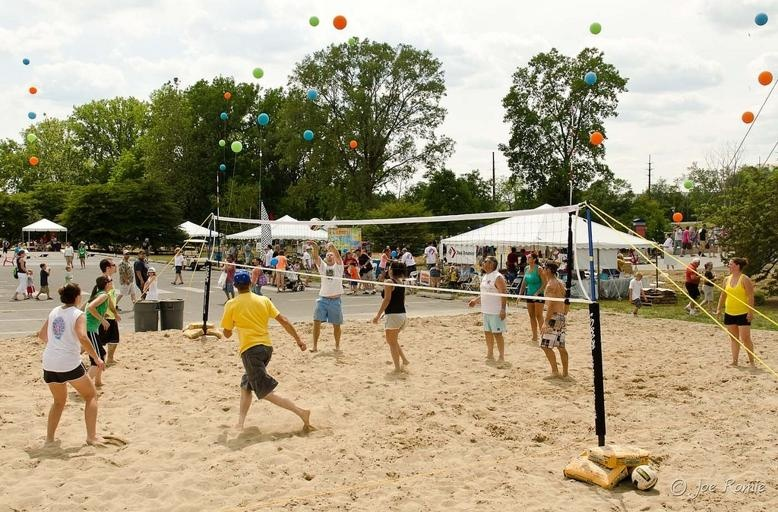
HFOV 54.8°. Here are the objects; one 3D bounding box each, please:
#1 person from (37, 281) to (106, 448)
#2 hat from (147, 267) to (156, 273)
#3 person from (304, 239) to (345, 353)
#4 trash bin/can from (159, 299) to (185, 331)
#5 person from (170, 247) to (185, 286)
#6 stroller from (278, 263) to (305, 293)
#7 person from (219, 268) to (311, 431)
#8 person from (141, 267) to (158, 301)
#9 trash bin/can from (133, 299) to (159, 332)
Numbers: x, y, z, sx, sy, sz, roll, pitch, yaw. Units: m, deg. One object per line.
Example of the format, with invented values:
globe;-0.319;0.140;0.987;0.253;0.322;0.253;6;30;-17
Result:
person;-5.216;1.787;12.304;0.927;2.631;0.489;1;-1;-18
hat;-6.689;0.396;21.197;0.249;0.166;0.348;4;-7;-31
person;-1.319;0.887;16.101;0.627;2.326;1.569;1;-1;-5
trash bin/can;-5.226;1.443;18.279;0.670;0.876;0.668;-5;-5;41
person;-8.139;0.418;29.143;0.379;1.397;2.318;1;-2;-16
stroller;-3.394;0.868;26.626;0.812;1.006;1.779;0;2;1
person;-2.154;1.618;12.744;1.344;2.696;0.610;1;-1;-11
person;-5.857;0.694;18.503;0.321;0.785;1.657;1;-2;-18
trash bin/can;-5.563;1.417;17.721;0.771;0.722;0.644;0;-6;-7
